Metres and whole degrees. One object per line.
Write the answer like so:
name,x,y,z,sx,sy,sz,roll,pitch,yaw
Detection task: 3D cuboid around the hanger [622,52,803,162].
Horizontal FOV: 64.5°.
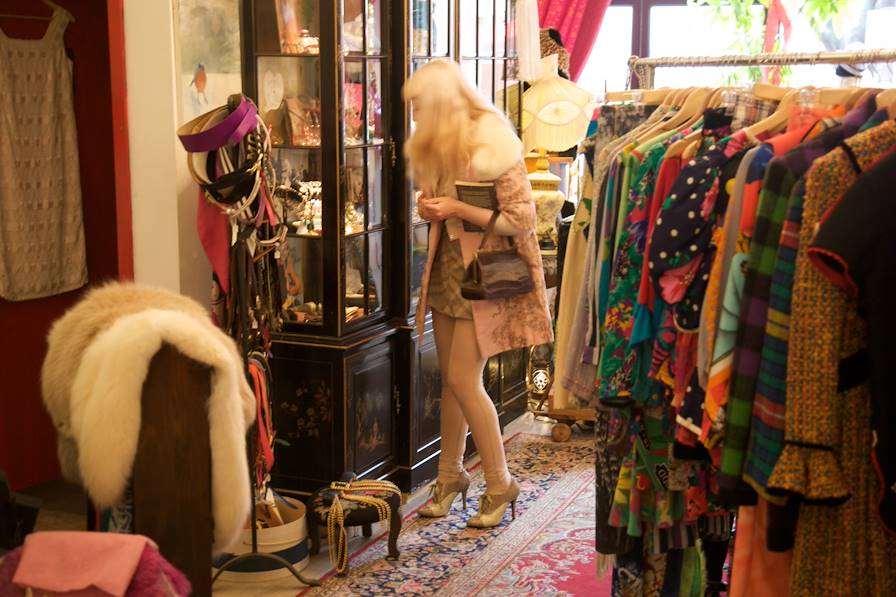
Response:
hanger,1.023,-0.814,2.835,0.610,0.327,0.985,3,13,11

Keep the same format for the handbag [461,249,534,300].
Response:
handbag,0.186,-0.110,3.499,0.189,0.303,0.455,7,3,16

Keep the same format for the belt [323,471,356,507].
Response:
belt,-0.516,0.890,3.347,0.053,0.032,0.237,4,15,18

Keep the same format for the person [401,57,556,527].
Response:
person,0.140,0.031,3.492,0.726,2.297,0.348,2,12,9
